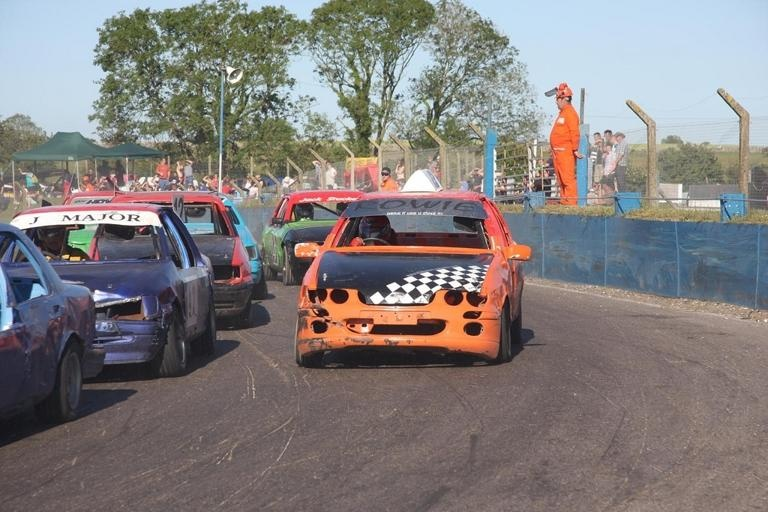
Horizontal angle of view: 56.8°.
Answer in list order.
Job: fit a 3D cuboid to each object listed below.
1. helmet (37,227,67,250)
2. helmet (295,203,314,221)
[{"bbox_3d":[-4.075,-0.207,8.748,0.267,0.346,0.310,1,16,-10],"label":"helmet"},{"bbox_3d":[-1.852,-1.047,16.364,0.303,0.471,0.131,3,14,-7],"label":"helmet"}]
